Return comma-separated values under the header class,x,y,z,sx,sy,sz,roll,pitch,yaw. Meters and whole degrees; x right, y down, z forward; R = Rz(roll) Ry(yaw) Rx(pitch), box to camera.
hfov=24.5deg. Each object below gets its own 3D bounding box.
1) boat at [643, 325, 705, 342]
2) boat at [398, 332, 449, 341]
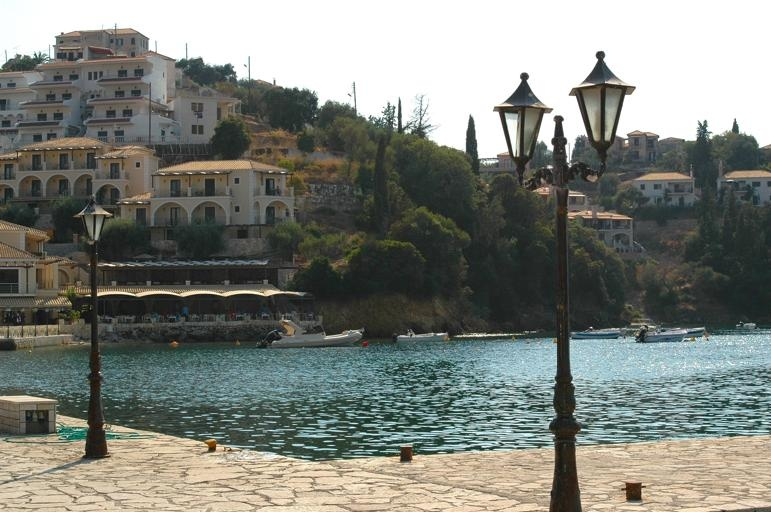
class,x,y,z,sx,sy,sz,roll,pitch,yaw
boat,38.846,10.868,239.993,9.915,2.453,3.047,-3,1,-25
boat,4.897,11.340,238.728,7.004,1.346,2.003,-2,1,4
